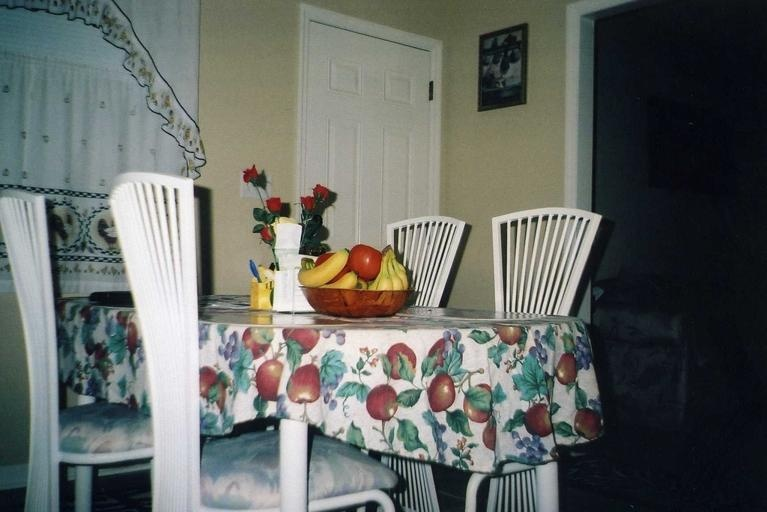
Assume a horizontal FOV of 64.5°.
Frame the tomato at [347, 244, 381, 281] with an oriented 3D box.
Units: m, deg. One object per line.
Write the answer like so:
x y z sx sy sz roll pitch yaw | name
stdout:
-0.072 0.025 2.364 0.121 0.125 0.125 19 -17 -26 | tomato

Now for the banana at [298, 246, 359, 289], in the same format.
-0.242 0.060 2.371 0.268 0.169 0.092 -21 -28 35 | banana

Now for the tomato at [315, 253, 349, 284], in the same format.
-0.199 0.021 2.337 0.171 0.066 0.080 -29 -39 36 | tomato

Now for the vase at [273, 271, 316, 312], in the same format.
-0.381 0.132 2.516 0.193 0.205 0.141 1 2 -39 | vase

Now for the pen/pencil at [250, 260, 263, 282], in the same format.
-0.613 0.074 2.900 0.024 0.134 0.022 -17 -22 -8 | pen/pencil
